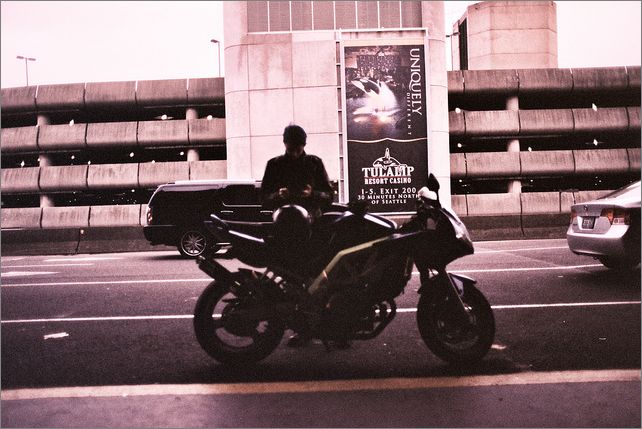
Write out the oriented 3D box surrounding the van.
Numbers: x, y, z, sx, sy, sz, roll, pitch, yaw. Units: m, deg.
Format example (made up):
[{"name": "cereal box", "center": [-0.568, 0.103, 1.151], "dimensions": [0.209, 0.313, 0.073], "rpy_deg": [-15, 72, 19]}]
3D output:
[{"name": "van", "center": [-2.149, 0.233, 23.035], "dimensions": [6.050, 2.351, 2.935], "rpy_deg": [-4, 1, -2]}]
